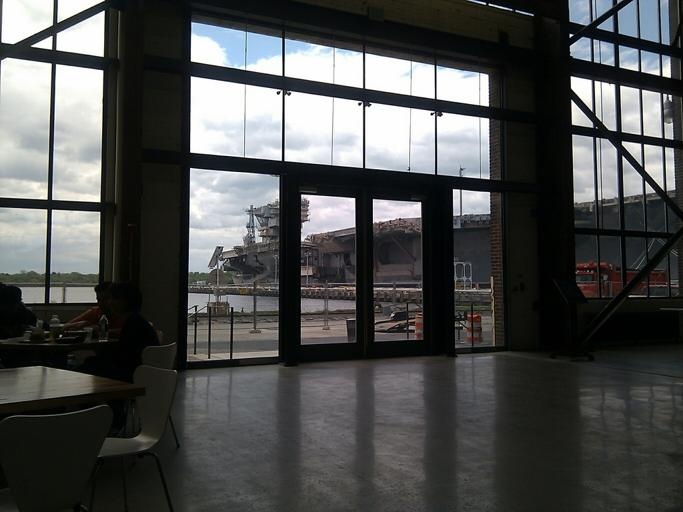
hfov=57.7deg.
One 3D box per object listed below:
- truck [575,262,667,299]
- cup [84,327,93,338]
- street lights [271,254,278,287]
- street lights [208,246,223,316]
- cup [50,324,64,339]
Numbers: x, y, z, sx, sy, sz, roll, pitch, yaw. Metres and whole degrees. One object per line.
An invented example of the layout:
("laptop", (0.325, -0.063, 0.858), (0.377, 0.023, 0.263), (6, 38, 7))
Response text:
("truck", (5.978, 0.488, 13.227), (1.800, 0.918, 1.067), (0, -3, -3))
("cup", (-2.876, 0.863, 7.019), (0.115, 0.127, 0.097), (3, -7, -36))
("street lights", (-1.125, 0.221, 10.559), (0.139, 0.544, 0.054), (1, 2, 35))
("street lights", (-2.079, 0.401, 10.330), (0.322, 1.150, 0.182), (0, 2, -27))
("cup", (-3.138, 0.823, 6.784), (0.110, 0.214, 0.111), (-1, -7, 0))
